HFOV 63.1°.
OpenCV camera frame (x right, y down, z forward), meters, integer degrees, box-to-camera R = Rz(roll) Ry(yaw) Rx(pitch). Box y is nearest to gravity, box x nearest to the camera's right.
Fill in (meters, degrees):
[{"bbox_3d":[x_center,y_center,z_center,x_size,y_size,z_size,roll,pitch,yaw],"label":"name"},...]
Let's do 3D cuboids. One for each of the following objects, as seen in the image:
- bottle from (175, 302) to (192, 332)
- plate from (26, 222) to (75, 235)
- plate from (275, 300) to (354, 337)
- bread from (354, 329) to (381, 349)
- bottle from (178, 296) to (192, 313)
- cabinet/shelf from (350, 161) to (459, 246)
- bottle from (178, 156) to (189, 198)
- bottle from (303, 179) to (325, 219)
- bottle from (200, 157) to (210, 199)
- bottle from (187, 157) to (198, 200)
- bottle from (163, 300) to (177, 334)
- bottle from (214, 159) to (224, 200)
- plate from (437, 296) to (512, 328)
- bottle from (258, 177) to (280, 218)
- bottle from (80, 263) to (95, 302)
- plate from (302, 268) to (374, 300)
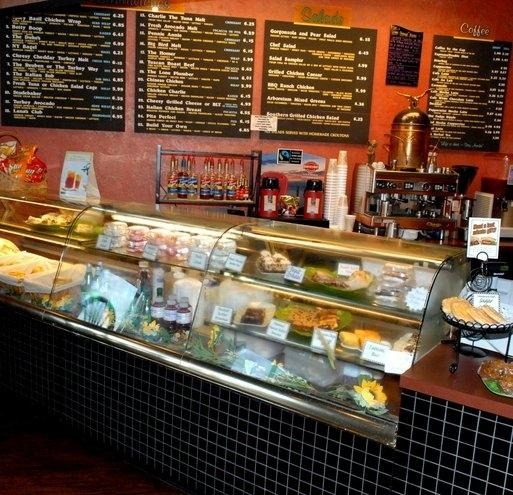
[{"bbox_3d":[-0.336,0.316,1.937,0.074,0.128,0.110,5,12,-9],"label":"bottle"},{"bbox_3d":[-1.152,-0.106,2.305,0.360,0.076,0.029,11,12,31],"label":"plate"},{"bbox_3d":[0.210,0.282,1.702,0.235,0.034,0.138,7,41,19],"label":"plate"},{"bbox_3d":[0.421,0.341,1.585,0.075,0.019,0.065,-1,24,-1],"label":"bread"},{"bbox_3d":[-0.334,0.264,1.950,0.083,0.062,0.072,3,7,20],"label":"bottle"},{"bbox_3d":[1.446,-0.422,4.055,0.853,0.503,0.581,3,5,2],"label":"cabinet/shelf"},{"bbox_3d":[-0.675,-0.632,3.868,0.102,0.351,0.158,5,12,-11],"label":"bottle"},{"bbox_3d":[0.542,-0.452,3.959,0.183,0.368,0.134,7,12,2],"label":"bottle"},{"bbox_3d":[-0.462,-0.641,3.910,0.103,0.371,0.151,8,12,5],"label":"bottle"},{"bbox_3d":[-0.602,-0.659,3.953,0.094,0.368,0.385,5,11,-10],"label":"bottle"},{"bbox_3d":[-0.402,0.316,1.950,0.059,0.148,0.103,4,12,-12],"label":"bottle"},{"bbox_3d":[-0.347,-0.639,3.965,0.107,0.361,0.242,6,12,-6],"label":"bottle"},{"bbox_3d":[0.679,0.203,1.297,0.128,0.017,0.101,9,16,-6],"label":"plate"},{"bbox_3d":[0.123,-0.466,3.896,0.208,0.374,0.178,6,12,-4],"label":"bottle"},{"bbox_3d":[-0.881,0.180,2.190,0.070,0.183,0.064,7,12,-1],"label":"bottle"},{"bbox_3d":[0.324,0.129,1.683,0.223,0.060,0.120,11,15,18],"label":"plate"}]
